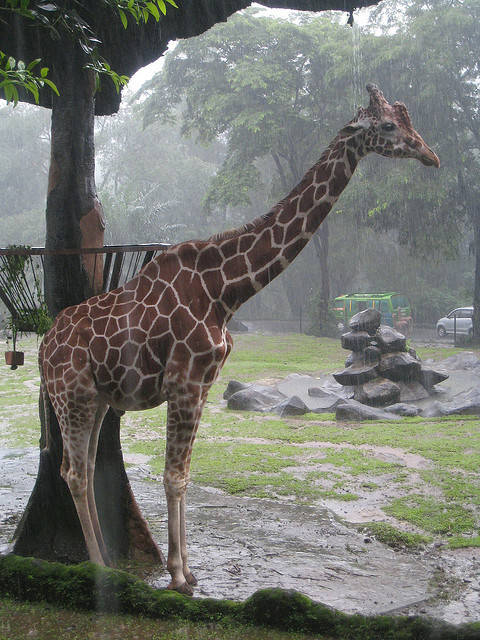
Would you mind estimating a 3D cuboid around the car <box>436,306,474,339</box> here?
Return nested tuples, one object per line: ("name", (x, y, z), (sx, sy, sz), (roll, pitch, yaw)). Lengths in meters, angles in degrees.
("car", (8.322, 0.220, 29.550), (1.045, 1.323, 1.855), (0, 6, -32))
